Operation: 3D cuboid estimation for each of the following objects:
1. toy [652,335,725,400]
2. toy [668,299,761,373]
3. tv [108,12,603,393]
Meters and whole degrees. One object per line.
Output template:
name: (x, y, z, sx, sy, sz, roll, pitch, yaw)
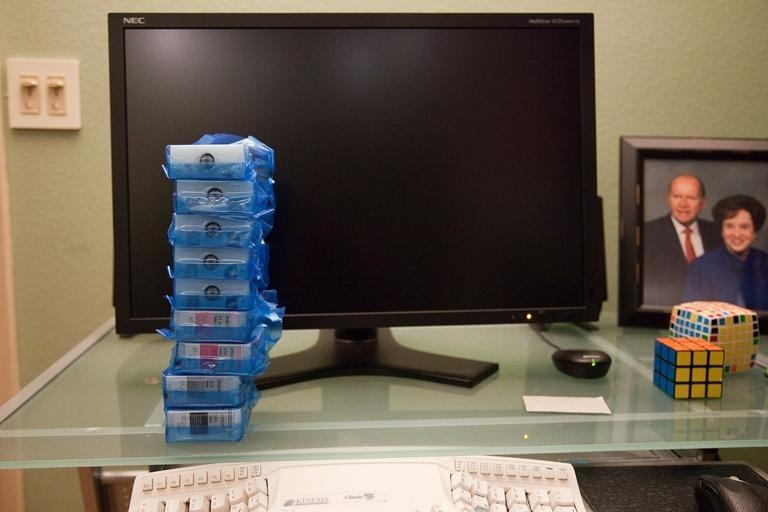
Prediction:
toy: (0.614, 0.226, 1.321, 0.119, 0.091, 0.109, 1, 8, 8)
toy: (0.716, 0.159, 1.421, 0.166, 0.139, 0.154, 1, 2, 41)
tv: (-0.264, -0.153, 1.462, 1.117, 0.743, 0.364, 6, 8, 30)
